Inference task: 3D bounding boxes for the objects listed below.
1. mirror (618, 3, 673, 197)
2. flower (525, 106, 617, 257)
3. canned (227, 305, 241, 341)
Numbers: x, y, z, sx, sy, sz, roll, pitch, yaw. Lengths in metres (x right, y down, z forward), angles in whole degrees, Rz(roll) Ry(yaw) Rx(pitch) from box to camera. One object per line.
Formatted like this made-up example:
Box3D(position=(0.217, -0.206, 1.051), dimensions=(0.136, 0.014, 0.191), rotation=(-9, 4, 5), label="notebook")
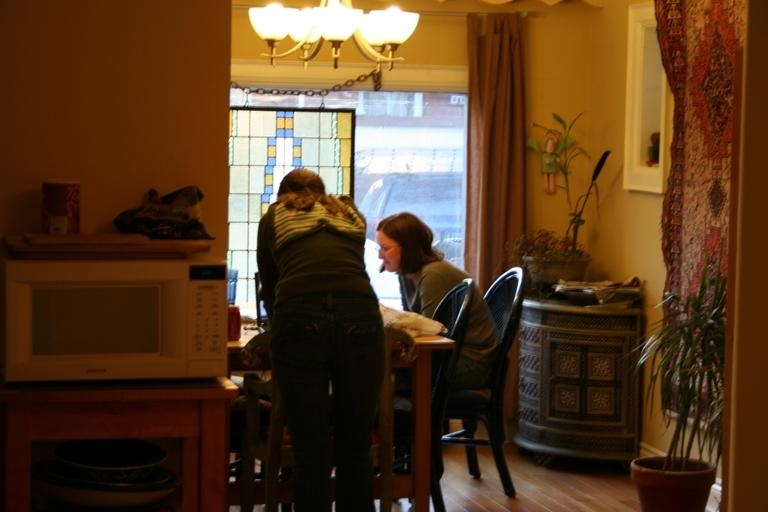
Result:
Box3D(position=(1.646, -0.993, 4.263), dimensions=(0.148, 1.218, 0.497), rotation=(-1, 3, -5), label="mirror")
Box3D(position=(1.290, -0.540, 4.782), dimensions=(0.525, 0.991, 0.486), rotation=(-1, 2, 2), label="flower")
Box3D(position=(-0.678, 0.313, 3.137), dimensions=(0.048, 0.148, 0.132), rotation=(-1, 2, -8), label="canned")
